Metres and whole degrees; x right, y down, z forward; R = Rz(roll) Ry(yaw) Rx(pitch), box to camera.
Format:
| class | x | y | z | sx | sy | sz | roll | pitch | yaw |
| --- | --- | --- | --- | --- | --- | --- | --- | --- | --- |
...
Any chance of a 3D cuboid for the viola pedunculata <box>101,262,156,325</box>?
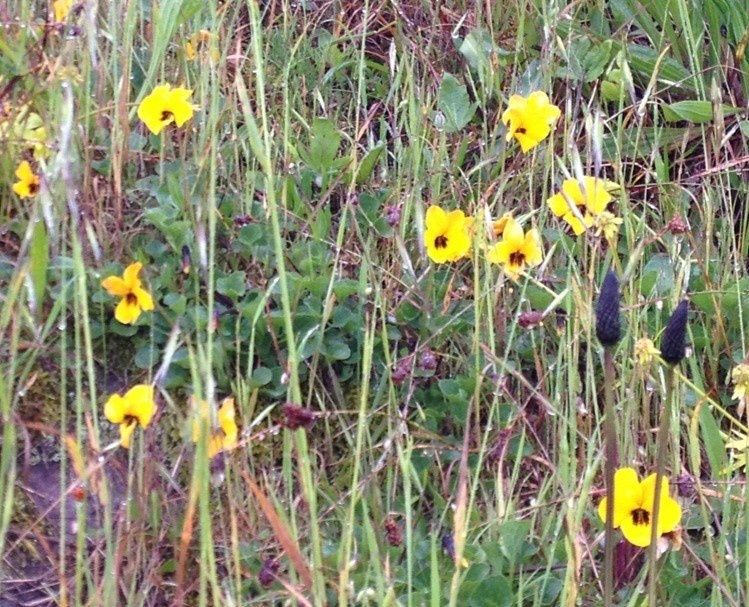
| class | x | y | z | sx | sy | sz | roll | pitch | yaw |
| --- | --- | --- | --- | --- | --- | --- | --- | --- | --- |
| viola pedunculata | -0.630 | -0.030 | 2.236 | 0.050 | 0.152 | 0.139 | -11 | 72 | 35 |

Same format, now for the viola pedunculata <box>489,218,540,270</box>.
| class | x | y | z | sx | sy | sz | roll | pitch | yaw |
| --- | --- | --- | --- | --- | --- | --- | --- | --- | --- |
| viola pedunculata | 0.379 | -0.145 | 2.227 | 0.110 | 0.130 | 0.059 | -9 | 59 | 30 |

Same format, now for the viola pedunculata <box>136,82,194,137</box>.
| class | x | y | z | sx | sy | sz | roll | pitch | yaw |
| --- | --- | --- | --- | --- | --- | --- | --- | --- | --- |
| viola pedunculata | -0.575 | -0.555 | 2.418 | 0.125 | 0.143 | 0.064 | 24 | 54 | 39 |

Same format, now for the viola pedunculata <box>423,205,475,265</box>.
| class | x | y | z | sx | sy | sz | roll | pitch | yaw |
| --- | --- | --- | --- | --- | --- | --- | --- | --- | --- |
| viola pedunculata | 0.188 | -0.178 | 2.245 | 0.145 | 0.072 | 0.129 | 46 | 102 | 3 |

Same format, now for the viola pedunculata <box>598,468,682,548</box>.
| class | x | y | z | sx | sy | sz | roll | pitch | yaw |
| --- | --- | --- | --- | --- | --- | --- | --- | --- | --- |
| viola pedunculata | 0.541 | 0.422 | 1.758 | 0.155 | 0.084 | 0.178 | 12 | 78 | 14 |

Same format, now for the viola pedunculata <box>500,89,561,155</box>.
| class | x | y | z | sx | sy | sz | roll | pitch | yaw |
| --- | --- | --- | --- | --- | --- | --- | --- | --- | --- |
| viola pedunculata | 0.438 | -0.552 | 2.420 | 0.163 | 0.097 | 0.149 | 8 | 25 | -11 |
